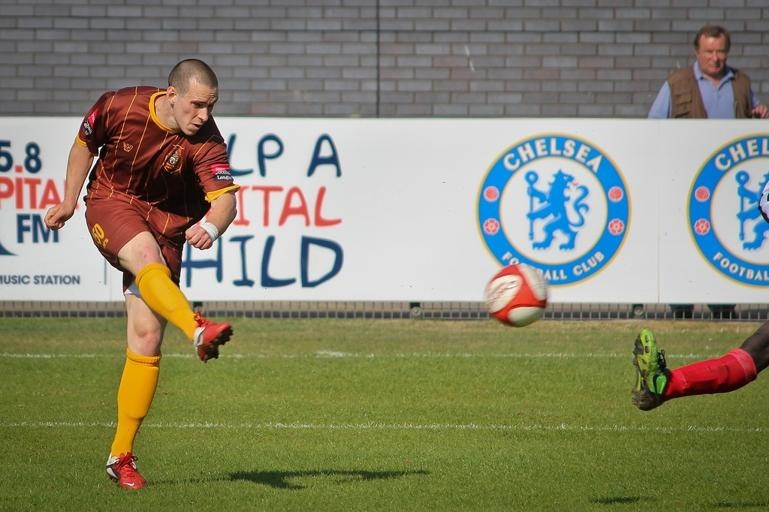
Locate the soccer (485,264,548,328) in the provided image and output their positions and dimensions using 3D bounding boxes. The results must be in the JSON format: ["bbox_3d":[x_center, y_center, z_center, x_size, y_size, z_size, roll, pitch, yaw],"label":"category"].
[{"bbox_3d":[1.725,0.534,24.347,0.898,0.858,0.870,-6,-10,22],"label":"soccer"}]

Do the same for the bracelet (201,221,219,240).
[{"bbox_3d":[-2.205,-0.299,23.125,0.199,0.229,0.265,5,8,32],"label":"bracelet"}]
